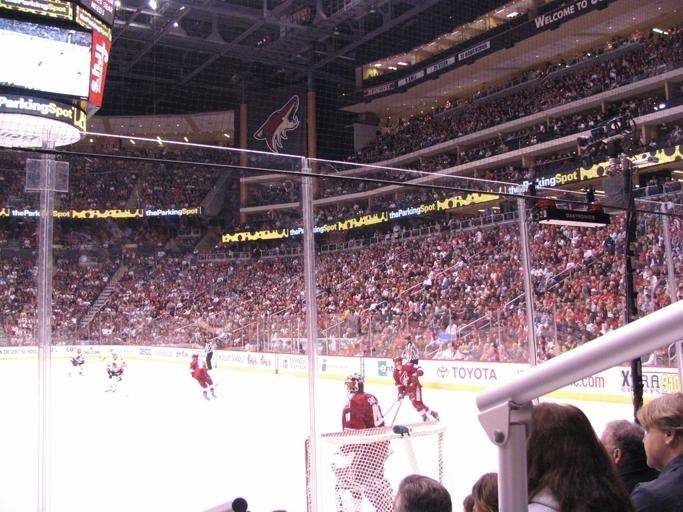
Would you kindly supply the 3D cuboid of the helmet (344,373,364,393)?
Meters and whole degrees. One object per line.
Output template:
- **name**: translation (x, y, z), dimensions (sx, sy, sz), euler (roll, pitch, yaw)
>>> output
- **helmet**: translation (0.135, 1.468, 11.640), dimensions (0.208, 0.225, 0.173), euler (12, -6, 24)

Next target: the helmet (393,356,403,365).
- **helmet**: translation (0.699, 1.317, 12.660), dimensions (0.107, 0.108, 0.111), euler (1, 6, 8)
